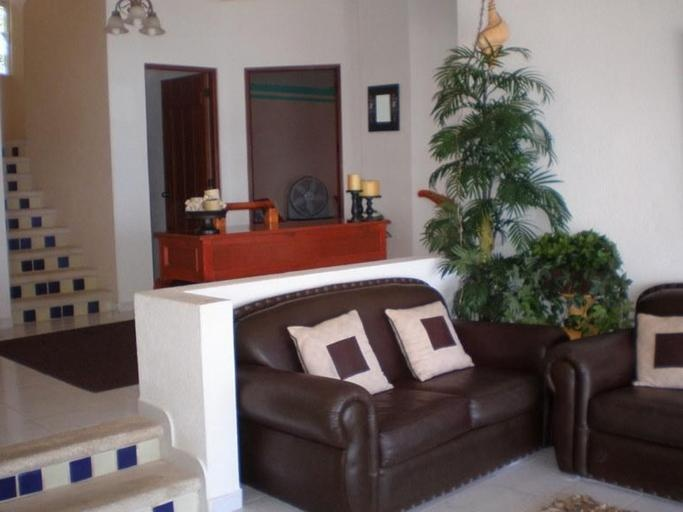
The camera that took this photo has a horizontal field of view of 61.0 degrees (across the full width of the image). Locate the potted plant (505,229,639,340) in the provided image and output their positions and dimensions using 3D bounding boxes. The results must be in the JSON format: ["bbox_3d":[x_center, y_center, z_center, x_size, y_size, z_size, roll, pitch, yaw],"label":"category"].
[{"bbox_3d":[1.623,0.148,4.137,0.632,0.667,0.561,-21,-6,34],"label":"potted plant"}]

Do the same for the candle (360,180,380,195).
[{"bbox_3d":[0.246,-0.586,5.093,0.144,0.117,0.152,4,23,8],"label":"candle"}]

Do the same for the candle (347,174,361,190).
[{"bbox_3d":[0.111,-0.652,5.118,0.118,0.146,0.124,1,4,2],"label":"candle"}]

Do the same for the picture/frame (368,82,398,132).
[{"bbox_3d":[0.542,-1.899,7.326,0.561,0.742,0.051,4,8,35],"label":"picture/frame"}]

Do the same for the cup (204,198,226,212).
[{"bbox_3d":[-0.907,-0.373,4.231,0.094,0.090,0.222,1,10,35],"label":"cup"}]

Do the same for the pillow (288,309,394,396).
[{"bbox_3d":[0.024,0.555,3.156,0.440,0.463,0.129,-12,-16,-42],"label":"pillow"}]

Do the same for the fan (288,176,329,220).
[{"bbox_3d":[-0.427,-0.801,7.555,0.532,0.592,0.298,-3,24,-10],"label":"fan"}]
